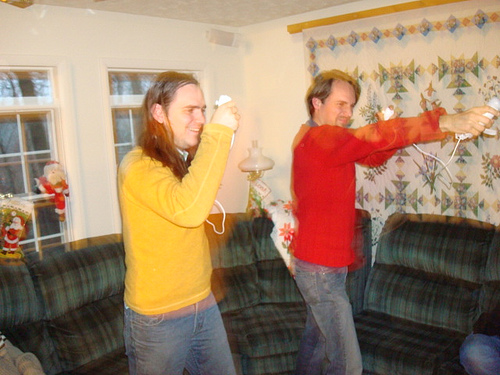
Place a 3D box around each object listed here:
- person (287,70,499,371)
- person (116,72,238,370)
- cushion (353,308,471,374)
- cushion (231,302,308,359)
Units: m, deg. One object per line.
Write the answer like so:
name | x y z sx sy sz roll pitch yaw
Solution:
person | 0.384 0.177 1.397 0.217 1.201 0.715 -6 11 -22
person | -0.222 0.143 1.180 0.305 0.981 0.292 6 13 36
cushion | 0.759 0.812 1.915 0.570 0.249 0.361 5 13 33
cushion | 0.109 0.829 2.302 0.504 0.099 0.491 -10 21 -19
